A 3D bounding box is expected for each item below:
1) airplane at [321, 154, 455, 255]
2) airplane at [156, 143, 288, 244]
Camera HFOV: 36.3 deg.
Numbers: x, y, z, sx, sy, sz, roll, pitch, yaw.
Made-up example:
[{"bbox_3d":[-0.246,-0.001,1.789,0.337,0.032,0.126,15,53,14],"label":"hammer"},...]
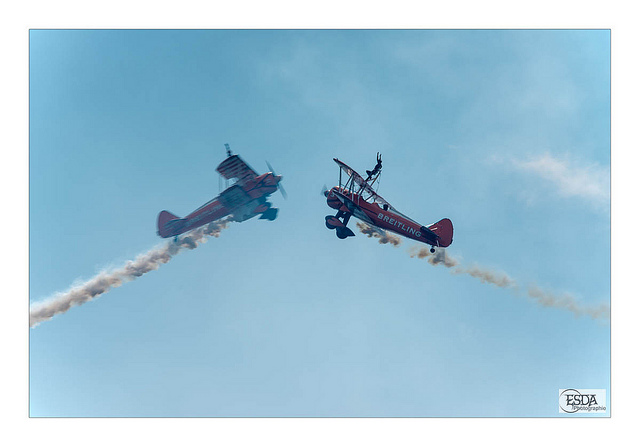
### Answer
[{"bbox_3d":[4.502,0.211,91.032,10.603,11.137,9.214,4,-83,27],"label":"airplane"},{"bbox_3d":[-9.246,-1.707,94.406,10.440,4.185,11.661,-24,-26,-4],"label":"airplane"}]
